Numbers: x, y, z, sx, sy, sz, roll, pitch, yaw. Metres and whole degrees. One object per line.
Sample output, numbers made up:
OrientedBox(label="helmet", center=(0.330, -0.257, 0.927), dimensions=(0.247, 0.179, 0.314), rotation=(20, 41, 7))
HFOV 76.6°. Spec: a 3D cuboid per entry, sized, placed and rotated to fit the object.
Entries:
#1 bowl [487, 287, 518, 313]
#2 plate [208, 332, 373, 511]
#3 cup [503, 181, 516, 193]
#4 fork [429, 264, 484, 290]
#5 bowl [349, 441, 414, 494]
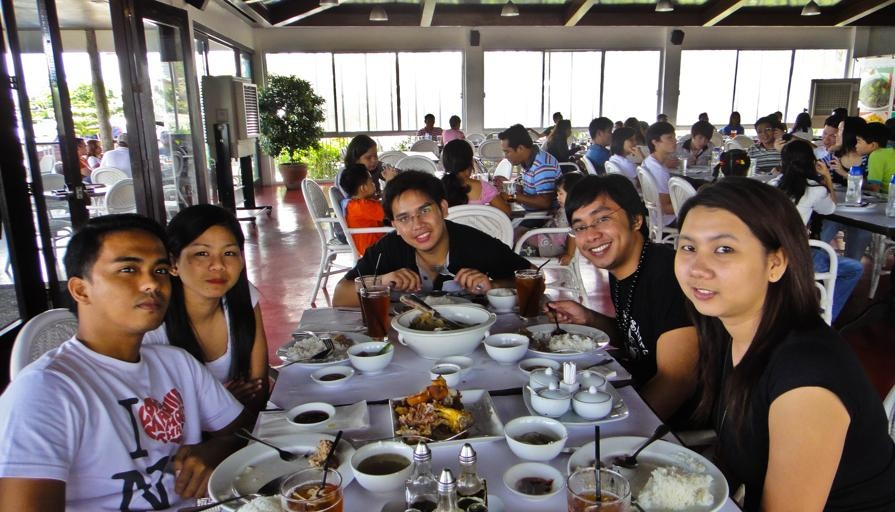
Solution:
OrientedBox(label="bowl", center=(0.263, 0.210, 2.741), dimensions=(0.128, 0.064, 0.116), rotation=(0, 3, -10))
OrientedBox(label="plate", center=(-0.527, 0.648, 1.943), dimensions=(0.529, 0.187, 0.415), rotation=(-5, 12, -14))
OrientedBox(label="cup", center=(0.622, -0.661, 5.418), dimensions=(0.152, 0.108, 0.114), rotation=(1, 10, -10))
OrientedBox(label="fork", center=(0.054, 0.119, 2.959), dimensions=(0.086, 0.087, 0.333), rotation=(8, -5, -27))
OrientedBox(label="bowl", center=(-0.203, 0.680, 1.814), dimensions=(0.195, 0.091, 0.182), rotation=(-3, 15, 1))
